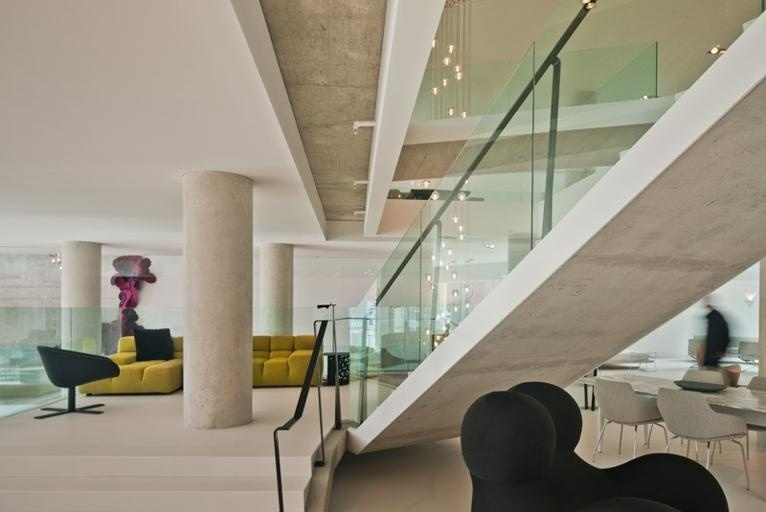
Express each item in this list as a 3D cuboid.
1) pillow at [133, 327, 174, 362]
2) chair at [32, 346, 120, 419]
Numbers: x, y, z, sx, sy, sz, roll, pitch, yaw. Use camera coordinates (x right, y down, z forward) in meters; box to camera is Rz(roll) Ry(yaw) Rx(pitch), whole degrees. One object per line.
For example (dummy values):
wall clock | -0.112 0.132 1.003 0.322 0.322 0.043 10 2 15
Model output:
pillow | -3.826 1.491 9.701 0.482 0.435 0.180 7 -32 -33
chair | -4.109 1.651 7.885 1.051 0.883 1.209 -10 -11 39
